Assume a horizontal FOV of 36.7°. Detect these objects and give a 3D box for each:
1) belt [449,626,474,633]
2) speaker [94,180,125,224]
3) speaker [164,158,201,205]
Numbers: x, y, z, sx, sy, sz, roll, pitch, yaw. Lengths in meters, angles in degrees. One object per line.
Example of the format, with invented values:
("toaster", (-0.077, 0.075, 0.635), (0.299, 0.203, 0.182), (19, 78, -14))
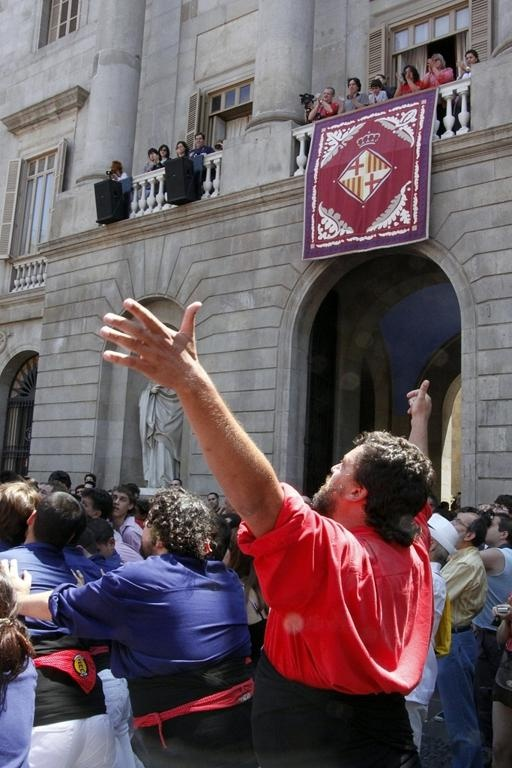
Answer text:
("belt", (1.351, 1.607, 5.047), (0.097, 0.024, 0.100), (-3, -6, 3))
("speaker", (-2.713, -3.359, 14.223), (0.668, 0.730, 0.486), (-1, -9, 27))
("speaker", (-1.268, -3.454, 13.051), (0.655, 0.781, 0.529), (2, -8, 7))
